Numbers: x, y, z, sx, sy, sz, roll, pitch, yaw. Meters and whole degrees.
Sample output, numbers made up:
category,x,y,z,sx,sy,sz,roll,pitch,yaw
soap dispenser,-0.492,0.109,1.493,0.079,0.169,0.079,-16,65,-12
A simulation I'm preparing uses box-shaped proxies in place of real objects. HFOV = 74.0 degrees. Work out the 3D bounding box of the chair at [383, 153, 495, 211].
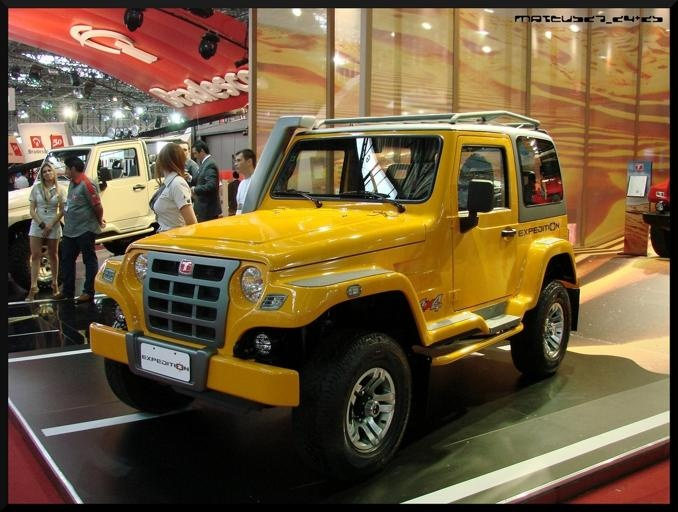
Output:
category,x,y,z,sx,sy,sz,roll,pitch,yaw
chair,1.026,-0.621,3.953,0.832,0.355,0.523,1,0,-28

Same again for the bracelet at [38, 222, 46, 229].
category,x,y,z,sx,sy,sz,roll,pitch,yaw
bracelet,-5.039,-0.530,7.707,0.089,0.116,0.043,-2,11,-4

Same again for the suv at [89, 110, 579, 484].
category,x,y,z,sx,sy,sz,roll,pitch,yaw
suv,0.372,-0.017,4.395,2.498,2.316,4.327,1,1,43
